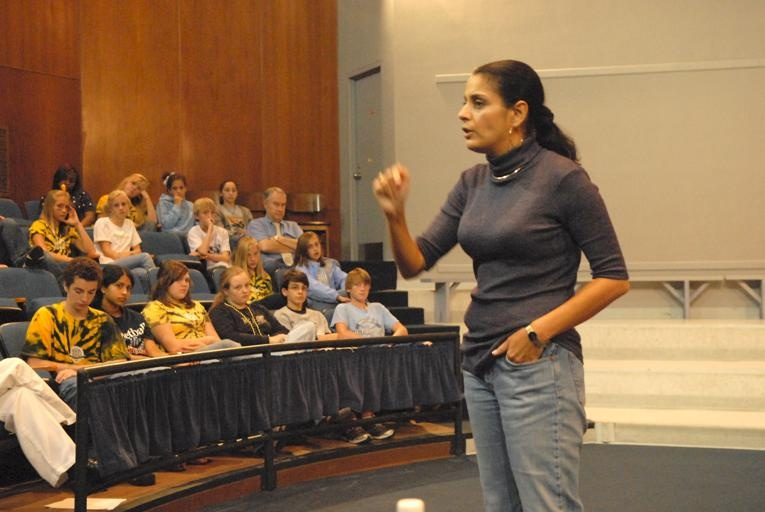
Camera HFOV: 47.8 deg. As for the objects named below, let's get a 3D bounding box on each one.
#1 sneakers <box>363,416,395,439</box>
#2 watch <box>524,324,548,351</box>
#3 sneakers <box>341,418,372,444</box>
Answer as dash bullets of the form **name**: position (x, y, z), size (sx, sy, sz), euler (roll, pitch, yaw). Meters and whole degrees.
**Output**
- **sneakers**: position (-0.038, 1.424, 7.111), size (0.286, 0.127, 0.137), euler (-2, -3, 23)
- **watch**: position (0.801, 0.438, 4.628), size (0.117, 0.115, 0.108), euler (-37, 19, -12)
- **sneakers**: position (-0.224, 1.464, 7.116), size (0.129, 0.134, 0.299), euler (4, -12, -30)
